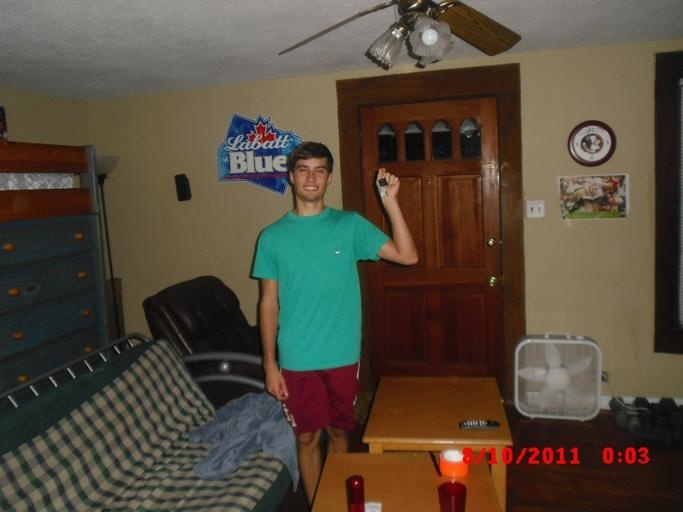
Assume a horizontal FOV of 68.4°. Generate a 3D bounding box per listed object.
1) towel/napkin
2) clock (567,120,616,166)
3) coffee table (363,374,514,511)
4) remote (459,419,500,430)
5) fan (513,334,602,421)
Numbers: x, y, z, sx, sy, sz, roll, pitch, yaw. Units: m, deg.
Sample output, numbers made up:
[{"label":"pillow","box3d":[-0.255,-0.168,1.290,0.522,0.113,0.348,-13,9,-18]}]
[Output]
[{"label":"towel/napkin","box3d":[-0.567,0.998,2.831,0.509,0.207,0.518,-17,45,-25]},{"label":"clock","box3d":[2.000,-0.899,4.023,0.350,0.360,0.076,0,8,2]},{"label":"coffee table","box3d":[0.556,0.921,3.052,0.761,0.760,0.789,-1,3,4]},{"label":"remote","box3d":[0.752,0.914,2.756,0.161,0.024,0.082,-1,7,8]},{"label":"fan","box3d":[1.690,0.942,3.914,0.620,0.664,0.239,0,4,9]}]
